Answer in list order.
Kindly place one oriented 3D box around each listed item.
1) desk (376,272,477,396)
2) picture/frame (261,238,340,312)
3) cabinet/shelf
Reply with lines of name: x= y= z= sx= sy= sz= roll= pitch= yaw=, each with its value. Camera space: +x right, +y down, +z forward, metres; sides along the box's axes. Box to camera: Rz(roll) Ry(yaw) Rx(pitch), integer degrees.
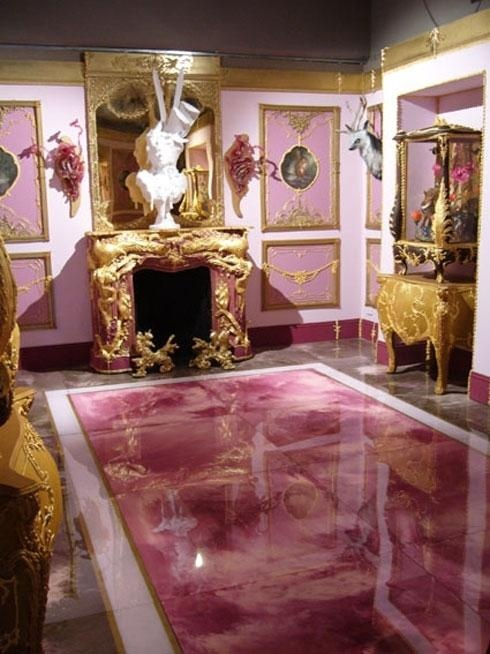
desk: x=1.710 y=0.027 z=4.841 sx=0.812 sy=0.904 sz=0.989 roll=-5 pitch=11 yaw=-20
picture/frame: x=0.612 y=-0.651 z=6.395 sx=0.938 sy=0.702 sz=0.128 roll=-4 pitch=9 yaw=-22
cabinet/shelf: x=1.629 y=-1.043 z=4.547 sx=0.371 sy=1.271 sz=0.906 roll=-6 pitch=11 yaw=-20
